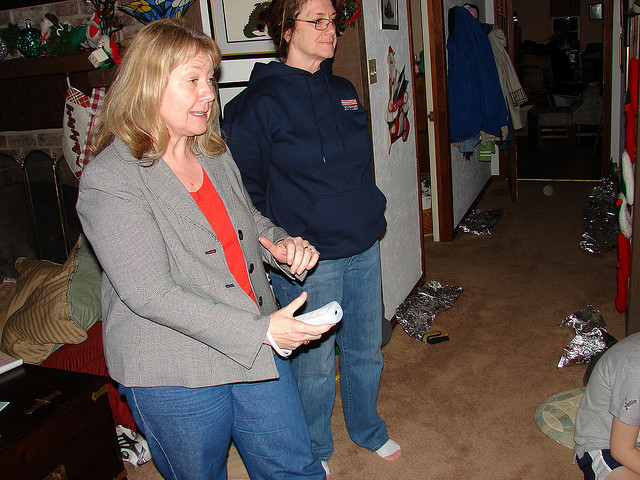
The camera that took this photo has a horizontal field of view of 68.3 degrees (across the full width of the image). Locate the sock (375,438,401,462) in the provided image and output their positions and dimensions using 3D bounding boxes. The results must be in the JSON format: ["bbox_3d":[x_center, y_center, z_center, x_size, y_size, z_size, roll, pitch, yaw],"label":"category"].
[{"bbox_3d":[0.325,0.994,2.223,0.105,0.056,0.076,-15,22,-25],"label":"sock"}]

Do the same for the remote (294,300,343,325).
[{"bbox_3d":[0.002,0.217,1.246,0.102,0.034,0.068,-26,35,-2],"label":"remote"}]

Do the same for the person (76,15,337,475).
[{"bbox_3d":[-0.306,0.089,1.363,0.601,1.350,0.498,-5,19,0],"label":"person"}]

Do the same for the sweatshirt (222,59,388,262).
[{"bbox_3d":[-0.123,-0.277,1.928,0.586,0.796,0.539,-11,20,-42],"label":"sweatshirt"}]
